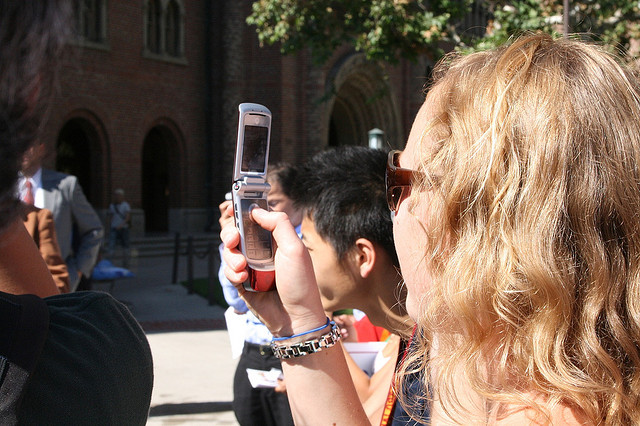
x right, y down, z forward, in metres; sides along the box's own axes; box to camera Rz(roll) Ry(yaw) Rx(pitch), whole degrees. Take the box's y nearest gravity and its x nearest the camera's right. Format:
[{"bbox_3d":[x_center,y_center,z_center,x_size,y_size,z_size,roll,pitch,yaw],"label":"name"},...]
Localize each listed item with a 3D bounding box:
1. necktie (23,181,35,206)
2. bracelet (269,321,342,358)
[{"bbox_3d":[-0.644,-0.044,1.530,0.008,0.055,0.072,1,5,-14],"label":"necktie"},{"bbox_3d":[-0.059,0.362,1.859,0.144,0.052,0.156,-12,-5,25],"label":"bracelet"}]
